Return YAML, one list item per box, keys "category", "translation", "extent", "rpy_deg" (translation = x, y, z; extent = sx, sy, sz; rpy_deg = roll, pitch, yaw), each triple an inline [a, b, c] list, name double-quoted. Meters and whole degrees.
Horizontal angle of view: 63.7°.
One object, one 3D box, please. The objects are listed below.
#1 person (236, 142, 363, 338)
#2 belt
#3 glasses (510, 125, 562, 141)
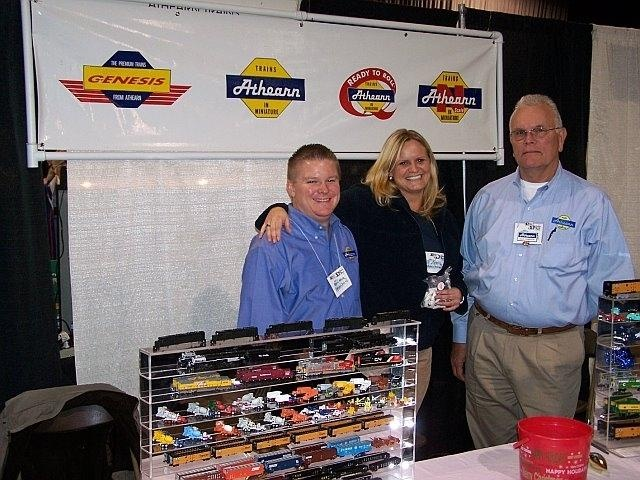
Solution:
- category: "person"
  translation: [-0.095, -0.027, 2.900]
  extent: [0.792, 0.664, 0.315]
  rpy_deg: [-5, 2, -34]
- category: "belt"
  translation: [1.267, 0.504, 3.234]
  extent: [0.597, 0.170, 0.171]
  rpy_deg: [-3, 2, 29]
- category: "glasses"
  translation: [1.345, -0.654, 3.205]
  extent: [0.291, 0.082, 0.164]
  rpy_deg: [-3, 2, 20]
